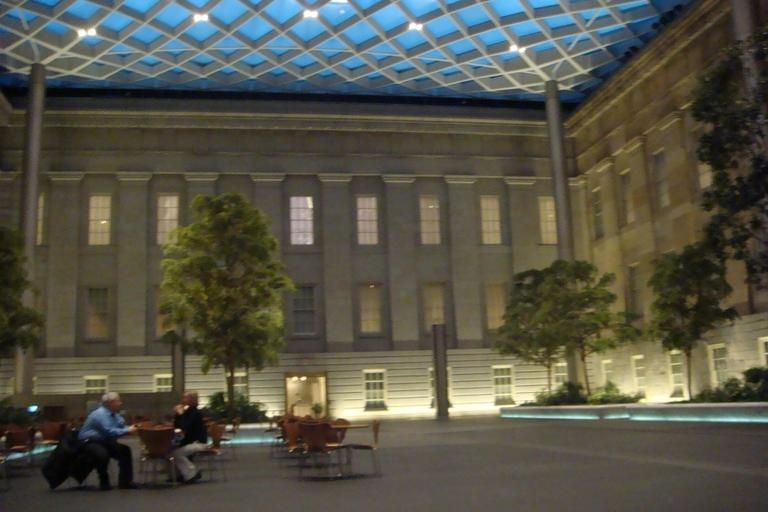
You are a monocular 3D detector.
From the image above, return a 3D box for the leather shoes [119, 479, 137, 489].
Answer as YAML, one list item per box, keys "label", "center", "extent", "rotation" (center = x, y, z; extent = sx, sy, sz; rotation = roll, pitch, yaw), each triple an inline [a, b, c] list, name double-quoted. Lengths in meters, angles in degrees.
- label: "leather shoes"
  center: [-6.131, 5.518, 18.996]
  extent: [0.540, 0.157, 0.156]
  rotation: [0, -7, -6]

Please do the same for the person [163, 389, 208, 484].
- label: "person"
  center: [-4.709, 4.639, 19.955]
  extent: [1.253, 2.233, 0.909]
  rotation: [-3, -20, 3]

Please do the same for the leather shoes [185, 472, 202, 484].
- label: "leather shoes"
  center: [-4.762, 5.540, 19.675]
  extent: [0.190, 0.180, 0.496]
  rotation: [2, 0, 6]

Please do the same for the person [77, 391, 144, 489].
- label: "person"
  center: [-6.662, 4.434, 18.954]
  extent: [1.211, 2.288, 0.813]
  rotation: [-1, -11, -8]
